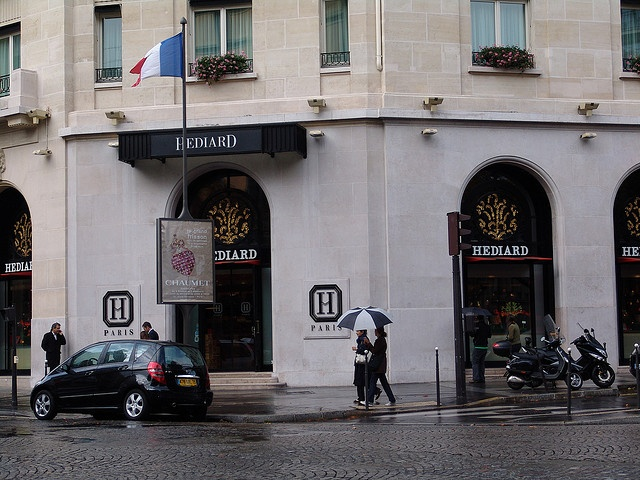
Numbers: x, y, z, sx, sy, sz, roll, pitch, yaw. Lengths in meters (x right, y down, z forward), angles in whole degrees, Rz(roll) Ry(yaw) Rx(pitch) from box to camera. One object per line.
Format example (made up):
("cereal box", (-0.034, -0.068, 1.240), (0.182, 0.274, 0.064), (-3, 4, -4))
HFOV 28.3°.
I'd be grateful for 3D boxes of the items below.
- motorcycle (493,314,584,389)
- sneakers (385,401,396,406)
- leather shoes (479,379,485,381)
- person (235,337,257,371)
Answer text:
("motorcycle", (5.811, 3.215, 34.271), (1.655, 1.615, 1.404), (-3, -4, 9))
("sneakers", (1.807, 4.180, 32.291), (0.231, 0.092, 0.083), (3, -3, 3))
("leather shoes", (4.622, 4.017, 36.247), (0.142, 0.121, 0.278), (-3, -4, 7))
("person", (-2.132, 3.462, 38.418), (0.565, 1.008, 0.155), (-5, -5, 33))
